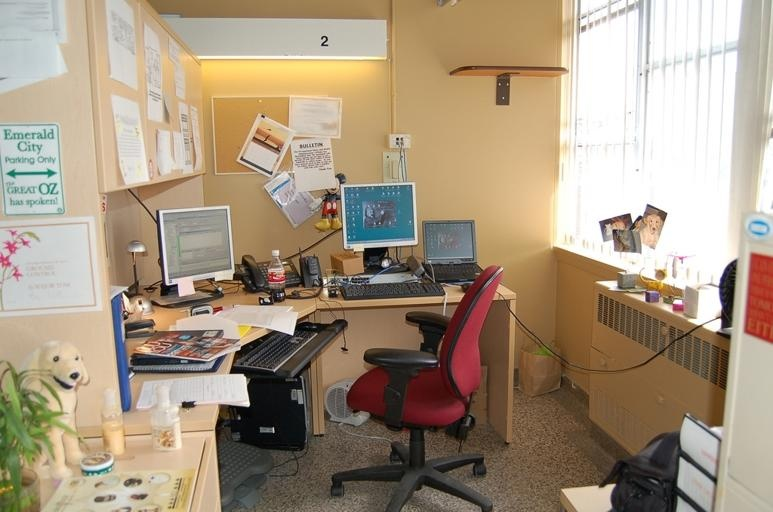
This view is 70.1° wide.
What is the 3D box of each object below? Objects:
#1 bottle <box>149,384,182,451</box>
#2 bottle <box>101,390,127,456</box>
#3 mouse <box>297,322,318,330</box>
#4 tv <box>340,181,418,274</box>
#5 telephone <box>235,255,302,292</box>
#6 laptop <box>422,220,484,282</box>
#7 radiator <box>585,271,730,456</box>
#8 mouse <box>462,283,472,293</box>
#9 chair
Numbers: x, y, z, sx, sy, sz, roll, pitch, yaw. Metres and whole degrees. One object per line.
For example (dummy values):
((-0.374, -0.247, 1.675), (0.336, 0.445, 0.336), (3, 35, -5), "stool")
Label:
((-0.816, 0.574, 2.013), (0.105, 0.220, 0.168), (-9, 11, -23), "bottle")
((-1.008, 0.583, 2.003), (0.070, 0.221, 0.191), (-9, 11, -27), "bottle")
((-0.422, 0.378, 2.976), (0.059, 0.017, 0.058), (4, 10, 13), "mouse")
((-0.064, -0.198, 3.706), (0.588, 0.530, 0.063), (-4, 4, -11), "tv")
((-0.790, 0.111, 3.454), (0.336, 0.169, 0.246), (0, 3, -33), "telephone")
((0.432, -0.097, 3.684), (0.373, 0.296, 0.408), (-3, 21, -9), "laptop")
((1.410, 0.531, 2.825), (0.370, 0.840, 0.955), (-2, 8, -12), "radiator")
((0.491, 0.188, 3.327), (0.068, 0.069, 0.018), (1, -12, -13), "mouse")
((0.140, 0.609, 3.426), (1.124, 1.620, 1.215), (2, 5, 9), "chair")
